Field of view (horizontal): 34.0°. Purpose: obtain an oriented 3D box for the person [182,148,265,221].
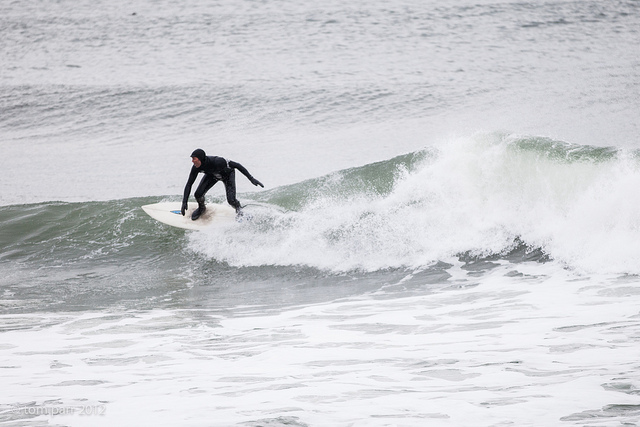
[{"bbox_3d":[-3.082,-0.920,30.535,1.831,2.314,0.809,1,28,-8],"label":"person"}]
